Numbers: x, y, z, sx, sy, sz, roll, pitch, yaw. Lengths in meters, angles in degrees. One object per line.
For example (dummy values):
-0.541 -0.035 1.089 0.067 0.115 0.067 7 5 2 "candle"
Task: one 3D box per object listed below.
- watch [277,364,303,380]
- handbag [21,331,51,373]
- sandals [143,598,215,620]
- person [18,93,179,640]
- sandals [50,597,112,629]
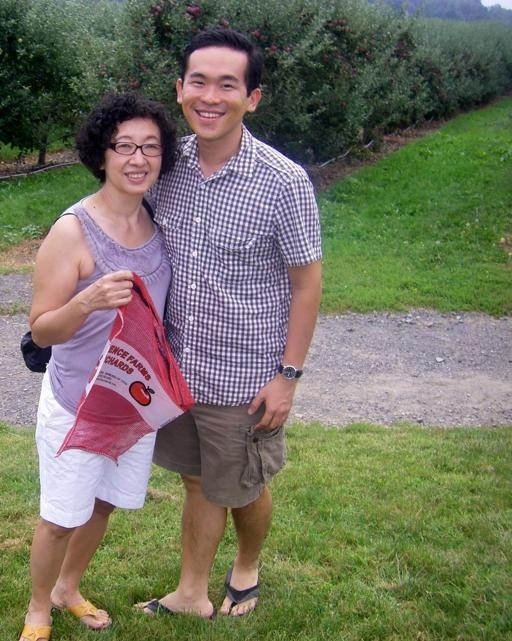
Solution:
0.145 0.219 2.748 0.103 0.051 0.086 12 5 -4 "watch"
-0.958 0.134 2.813 0.123 0.041 0.090 37 53 18 "handbag"
-0.343 1.311 2.955 0.333 0.062 0.107 9 -6 2 "sandals"
-0.666 0.213 2.709 0.774 2.265 0.614 -4 10 -4 "person"
-0.763 1.278 2.862 0.228 0.049 0.114 14 17 14 "sandals"
